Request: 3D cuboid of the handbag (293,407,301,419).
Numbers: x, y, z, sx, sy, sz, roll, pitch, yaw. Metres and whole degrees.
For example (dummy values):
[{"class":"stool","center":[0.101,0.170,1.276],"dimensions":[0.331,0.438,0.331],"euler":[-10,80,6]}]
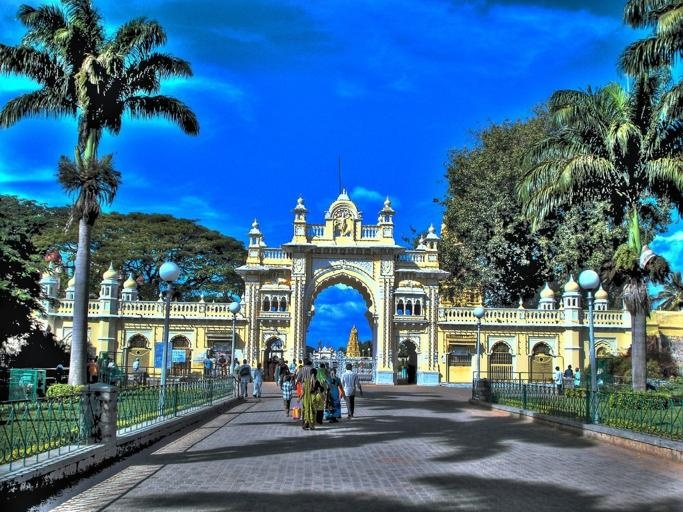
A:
[{"class":"handbag","center":[-1.326,4.768,20.753],"dimensions":[0.231,0.427,0.677],"euler":[1,-4,-4]}]
